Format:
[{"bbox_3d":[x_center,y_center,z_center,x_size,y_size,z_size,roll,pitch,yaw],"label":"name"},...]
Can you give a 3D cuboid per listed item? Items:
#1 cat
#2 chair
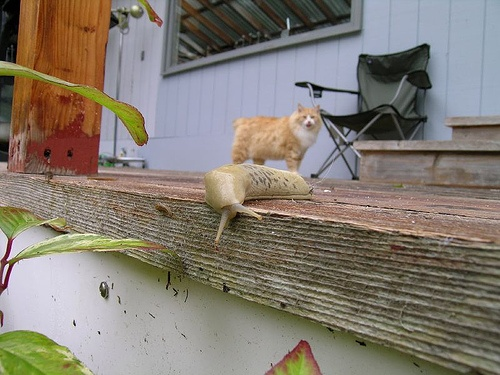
[{"bbox_3d":[0.175,-0.345,2.765,0.678,0.497,0.230,4,13,30],"label":"cat"},{"bbox_3d":[0.857,-0.575,2.813,0.906,1.172,0.724,7,2,40],"label":"chair"}]
